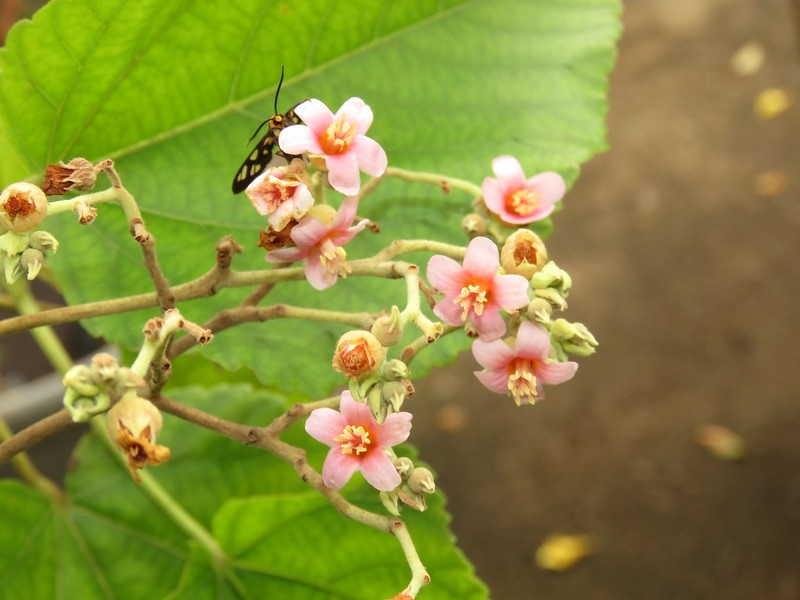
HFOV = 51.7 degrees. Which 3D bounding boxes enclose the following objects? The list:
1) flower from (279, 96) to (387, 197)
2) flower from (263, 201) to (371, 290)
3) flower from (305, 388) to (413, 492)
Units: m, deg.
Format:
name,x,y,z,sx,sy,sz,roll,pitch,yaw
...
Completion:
name,x,y,z,sx,sy,sz,roll,pitch,yaw
flower,-0.047,-0.120,0.675,0.066,0.021,0.068,-6,-21,43
flower,-0.067,-0.050,0.688,0.080,0.055,0.086,-13,13,-5
flower,-0.035,0.120,0.677,0.102,0.088,0.033,-7,-31,-41
